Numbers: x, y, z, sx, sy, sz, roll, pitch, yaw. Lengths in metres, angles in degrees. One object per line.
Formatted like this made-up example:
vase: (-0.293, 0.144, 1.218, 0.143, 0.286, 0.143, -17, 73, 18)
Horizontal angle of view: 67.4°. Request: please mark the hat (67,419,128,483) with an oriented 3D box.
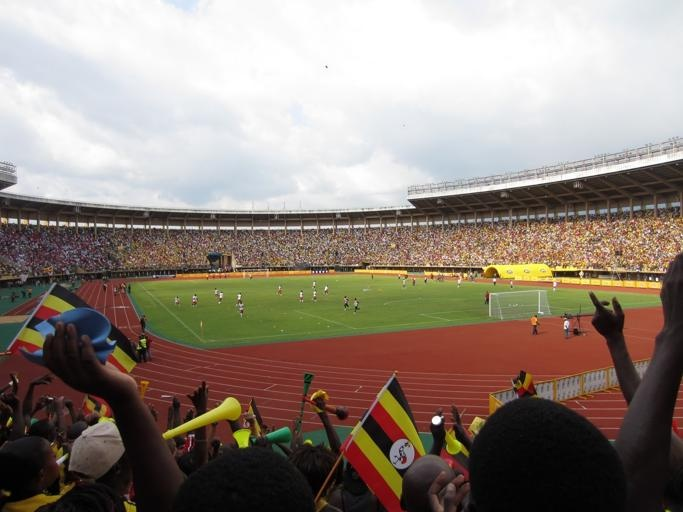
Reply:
hat: (-2.282, 1.734, 4.722, 0.456, 0.255, 0.610, -7, 13, 23)
